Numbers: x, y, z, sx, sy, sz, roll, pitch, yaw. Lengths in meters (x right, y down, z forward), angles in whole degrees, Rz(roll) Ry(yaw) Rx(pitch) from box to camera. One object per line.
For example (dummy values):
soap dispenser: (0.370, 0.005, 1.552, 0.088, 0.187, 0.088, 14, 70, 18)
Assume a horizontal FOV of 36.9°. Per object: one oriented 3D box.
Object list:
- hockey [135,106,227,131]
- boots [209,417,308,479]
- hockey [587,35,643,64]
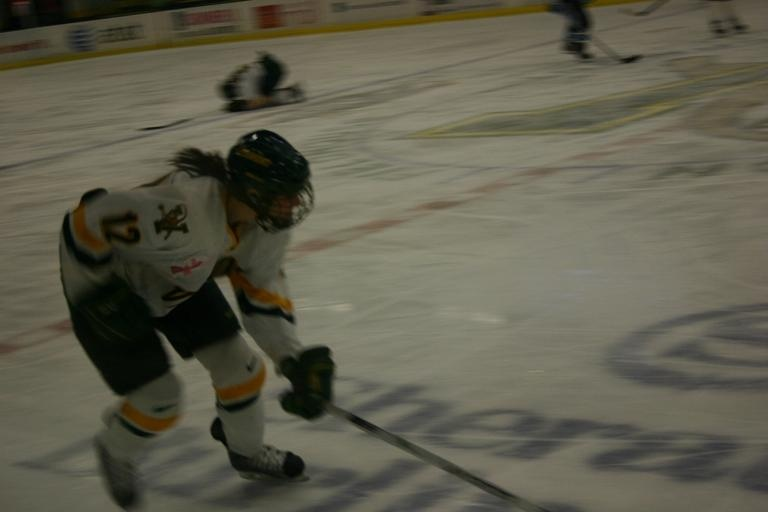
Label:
hockey: (-1.877, -1.276, 10.795, 0.994, 0.082, 0.106, -10, 52, -11)
boots: (-0.691, 1.268, 7.413, 0.941, 0.209, 0.520, 3, -20, -3)
hockey: (2.197, -1.966, 10.943, 0.314, 0.282, 0.506, -13, 15, -15)
